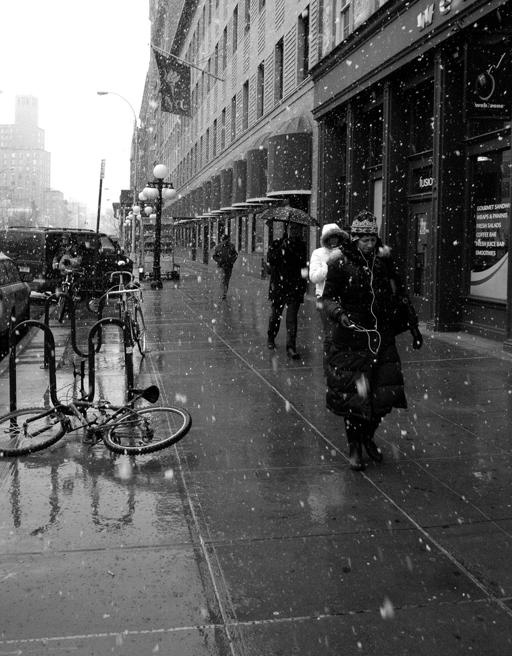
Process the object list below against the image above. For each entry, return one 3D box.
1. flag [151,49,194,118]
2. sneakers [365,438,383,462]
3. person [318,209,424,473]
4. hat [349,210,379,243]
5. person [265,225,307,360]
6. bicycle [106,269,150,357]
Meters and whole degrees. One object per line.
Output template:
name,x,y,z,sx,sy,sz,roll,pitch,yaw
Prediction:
flag,-3.386,-9.561,25.772,1.619,2.961,0.095,7,-25,-23
sneakers,0.858,0.900,4.795,0.068,0.209,0.236,-17,-3,1
person,0.771,0.108,4.538,0.648,1.797,0.485,2,6,3
hat,0.738,-0.696,4.500,0.138,0.257,0.198,-1,5,-16
person,0.430,-0.556,9.549,0.571,1.916,0.686,2,7,5
bicycle,-2.061,-0.094,10.358,0.383,1.024,1.272,-5,3,-14
